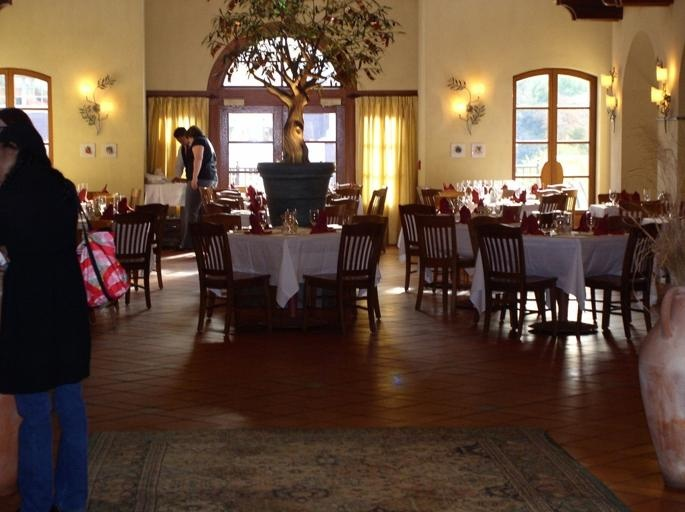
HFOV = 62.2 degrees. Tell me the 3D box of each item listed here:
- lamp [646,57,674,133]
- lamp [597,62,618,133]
[{"bbox_3d":[5.574,-2.880,10.076,0.261,1.318,0.591,1,6,13],"label":"lamp"},{"bbox_3d":[5.837,-3.504,12.596,0.350,1.454,0.624,2,6,21],"label":"lamp"}]
